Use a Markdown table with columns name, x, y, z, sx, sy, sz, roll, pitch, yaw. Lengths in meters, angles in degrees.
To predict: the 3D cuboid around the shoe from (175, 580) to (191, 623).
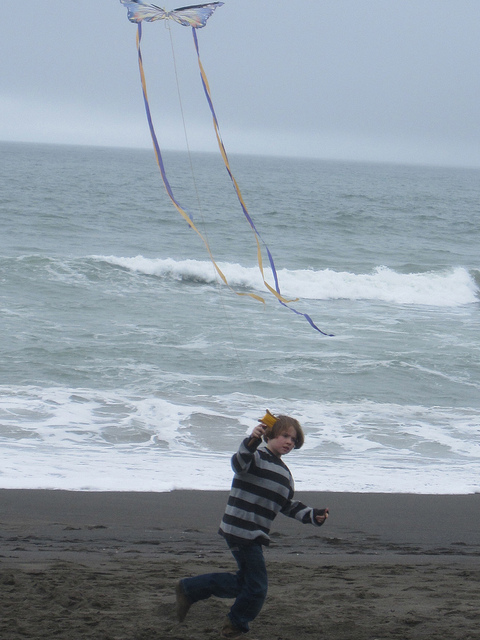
| name | x | y | z | sx | sy | sz | roll | pitch | yaw |
| --- | --- | --- | --- | --- | --- | --- | --- | --- | --- |
| shoe | -0.371 | 1.891 | 8.234 | 0.129 | 0.247 | 0.089 | 2 | -4 | 1 |

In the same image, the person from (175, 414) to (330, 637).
| name | x | y | z | sx | sy | sz | roll | pitch | yaw |
| --- | --- | --- | --- | --- | --- | --- | --- | --- | --- |
| person | 0.088 | 1.366 | 8.065 | 0.934 | 1.457 | 0.258 | 5 | 5 | -2 |
